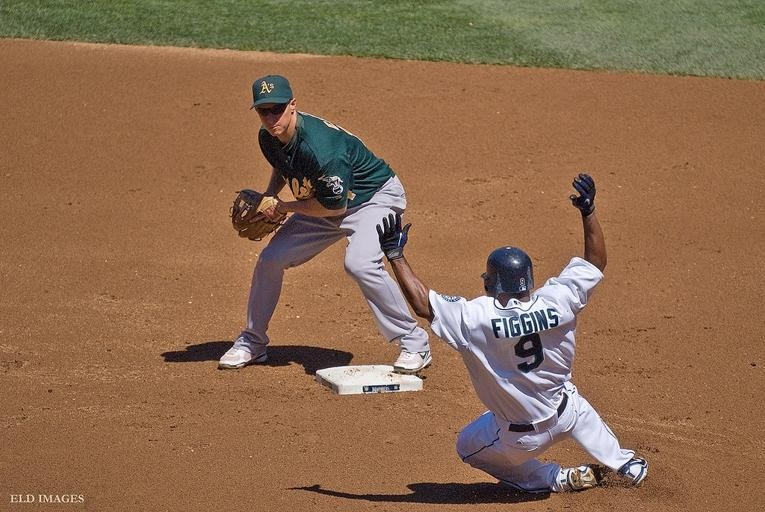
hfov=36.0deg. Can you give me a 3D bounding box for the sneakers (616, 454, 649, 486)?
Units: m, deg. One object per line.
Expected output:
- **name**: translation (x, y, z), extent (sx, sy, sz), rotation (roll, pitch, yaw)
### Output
- **sneakers**: translation (2.536, 2.157, 11.832), extent (0.164, 0.202, 0.453), rotation (41, 19, 22)

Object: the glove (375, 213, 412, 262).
- **glove**: translation (0.089, -0.217, 11.663), extent (0.289, 0.466, 0.428), rotation (7, 25, 3)

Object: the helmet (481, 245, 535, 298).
- **helmet**: translation (1.263, 0.128, 11.696), extent (0.398, 0.428, 0.533), rotation (-7, 21, -20)

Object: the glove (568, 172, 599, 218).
- **glove**: translation (2.031, -0.618, 11.972), extent (0.235, 0.428, 0.306), rotation (23, 48, 23)

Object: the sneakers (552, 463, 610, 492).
- **sneakers**: translation (1.973, 2.249, 12.004), extent (0.681, 0.212, 0.285), rotation (-7, 11, -8)

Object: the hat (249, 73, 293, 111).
- **hat**: translation (-1.226, -1.840, 12.981), extent (0.468, 0.308, 0.591), rotation (-7, 17, 4)
